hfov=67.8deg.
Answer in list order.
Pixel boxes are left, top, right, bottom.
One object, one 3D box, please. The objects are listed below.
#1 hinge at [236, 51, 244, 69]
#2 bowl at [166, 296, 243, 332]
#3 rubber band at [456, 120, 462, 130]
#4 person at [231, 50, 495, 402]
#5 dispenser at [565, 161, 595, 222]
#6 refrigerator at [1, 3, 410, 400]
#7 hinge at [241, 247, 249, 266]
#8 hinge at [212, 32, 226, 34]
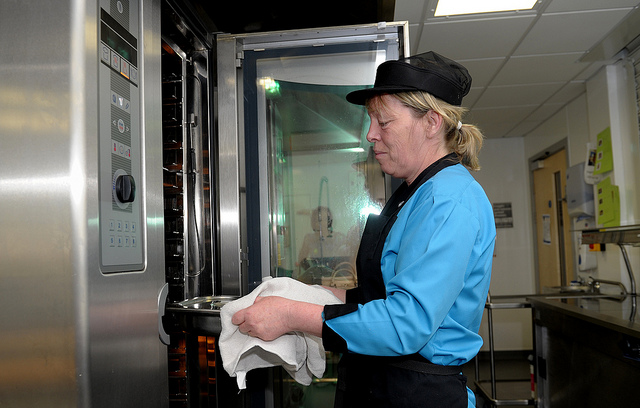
[{"bbox_3d":[-0.444,-0.788,2.614,0.074,0.075,0.021,-7,10,-38],"label":"hinge"},{"bbox_3d":[-0.517,0.514,2.262,0.320,0.066,0.318,-8,-23,-4],"label":"bowl"},{"bbox_3d":[0.552,-0.309,1.879,0.011,0.030,0.026,24,-36,7],"label":"rubber band"},{"bbox_3d":[0.252,0.094,1.857,0.806,1.361,0.432,-6,-8,20],"label":"person"},{"bbox_3d":[2.426,-0.125,4.452,0.131,0.495,0.330,-2,-7,-5],"label":"dispenser"},{"bbox_3d":[-0.580,-0.007,3.042,2.012,2.950,1.665,0,-4,10],"label":"refrigerator"},{"bbox_3d":[-0.416,0.284,2.584,0.073,0.101,0.033,0,-3,-23],"label":"hinge"},{"bbox_3d":[-0.558,-0.939,2.618,0.059,0.010,0.010,1,17,5],"label":"hinge"}]
